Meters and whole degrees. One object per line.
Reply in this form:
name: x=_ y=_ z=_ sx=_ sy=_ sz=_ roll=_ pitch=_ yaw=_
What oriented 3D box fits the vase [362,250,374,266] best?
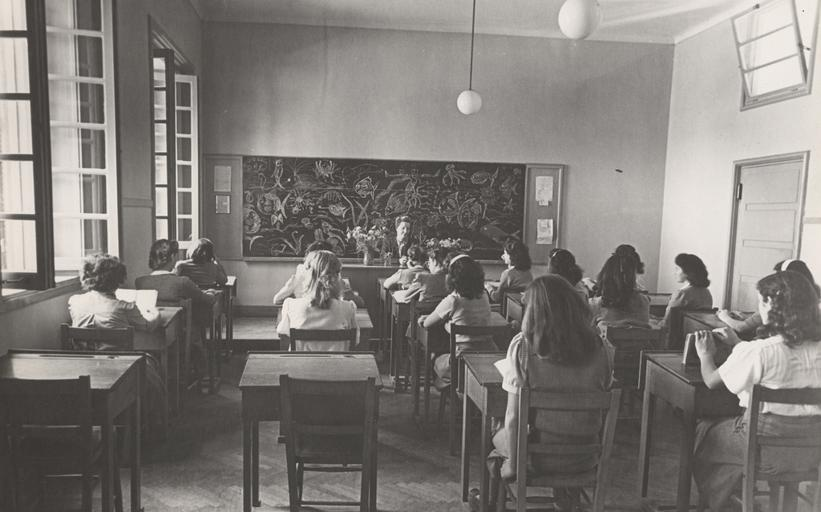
vase: x=-0.501 y=0.016 z=8.558 sx=0.152 sy=0.279 sz=0.165 roll=1 pitch=0 yaw=-1

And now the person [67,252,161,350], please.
person: x=-2.349 y=0.389 z=5.649 sx=0.535 sy=0.731 sz=0.530 roll=9 pitch=12 yaw=16

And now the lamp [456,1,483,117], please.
lamp: x=0.743 y=-2.406 z=8.740 sx=0.333 sy=1.346 sz=1.067 roll=1 pitch=5 yaw=6
